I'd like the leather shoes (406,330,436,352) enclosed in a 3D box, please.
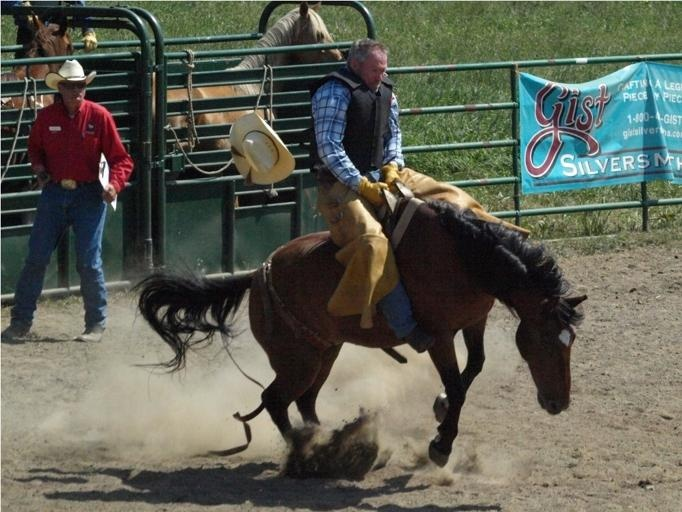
[{"bbox_3d":[0.641,0.712,9.810,0.210,0.165,0.082,39,1,5],"label":"leather shoes"}]

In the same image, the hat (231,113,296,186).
[{"bbox_3d":[-0.647,-0.963,10.163,0.479,0.588,0.168,-30,9,33],"label":"hat"}]

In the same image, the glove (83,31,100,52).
[{"bbox_3d":[-2.807,-2.372,13.323,0.163,0.151,0.340,-11,17,2],"label":"glove"}]

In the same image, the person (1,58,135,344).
[{"bbox_3d":[-2.599,-0.480,11.395,1.221,2.701,0.454,-4,12,-11],"label":"person"}]

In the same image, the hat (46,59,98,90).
[{"bbox_3d":[-2.632,-1.742,11.530,0.317,0.181,0.391,-8,-13,-18],"label":"hat"}]

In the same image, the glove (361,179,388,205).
[{"bbox_3d":[0.268,-0.524,9.861,0.232,0.239,0.090,-2,12,2],"label":"glove"}]

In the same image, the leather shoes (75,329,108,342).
[{"bbox_3d":[-2.453,0.793,11.627,0.114,0.122,0.250,15,8,32],"label":"leather shoes"}]
